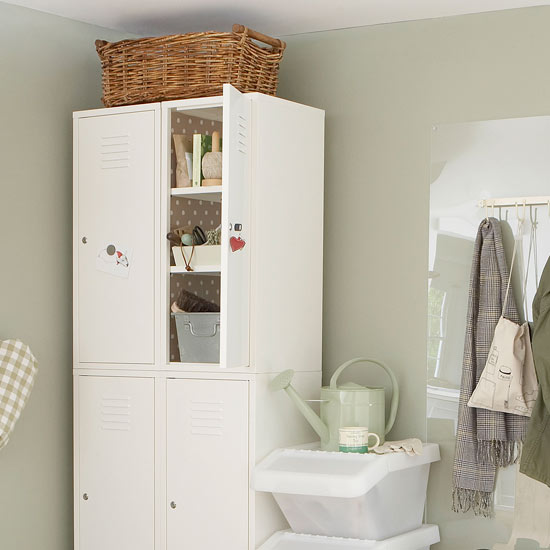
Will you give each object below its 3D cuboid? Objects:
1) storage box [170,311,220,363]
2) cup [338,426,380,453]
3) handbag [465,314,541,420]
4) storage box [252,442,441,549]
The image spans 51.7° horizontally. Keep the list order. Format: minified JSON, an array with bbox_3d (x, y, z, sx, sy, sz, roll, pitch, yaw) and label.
[{"bbox_3d":[-0.241,0.198,1.783,0.194,0.164,0.136,-1,-5,8],"label":"storage box"},{"bbox_3d":[0.262,0.496,1.749,0.113,0.083,0.077,0,-3,6],"label":"cup"},{"bbox_3d":[0.703,0.284,1.719,0.134,0.362,0.290,5,-3,-41],"label":"handbag"},{"bbox_3d":[0.230,0.672,1.785,0.389,0.319,0.569,3,4,37],"label":"storage box"}]
